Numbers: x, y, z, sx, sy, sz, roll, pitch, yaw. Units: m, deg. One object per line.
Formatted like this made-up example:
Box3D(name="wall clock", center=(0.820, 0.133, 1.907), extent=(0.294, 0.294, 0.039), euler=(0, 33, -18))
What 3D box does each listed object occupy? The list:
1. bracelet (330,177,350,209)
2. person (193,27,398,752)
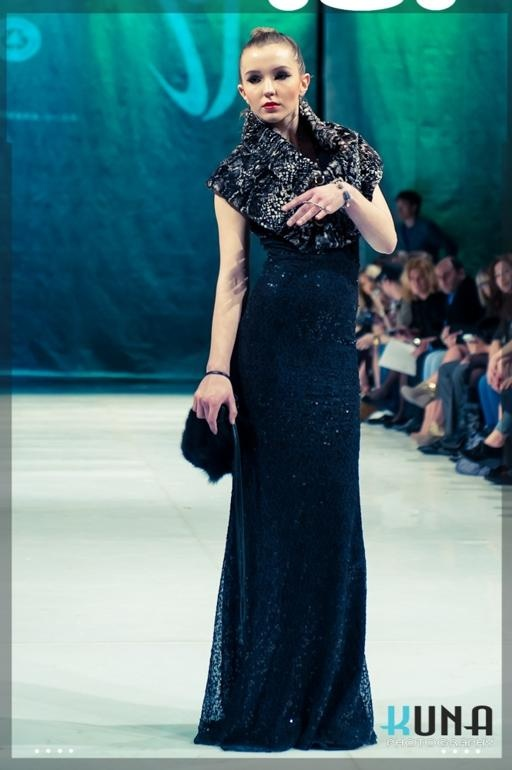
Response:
Box3D(name="bracelet", center=(0.147, -0.331, 1.373), extent=(0.018, 0.043, 0.035), euler=(-10, -7, 19))
Box3D(name="person", center=(0.072, 0.010, 1.485), extent=(0.362, 1.308, 0.246), euler=(0, 6, 9))
